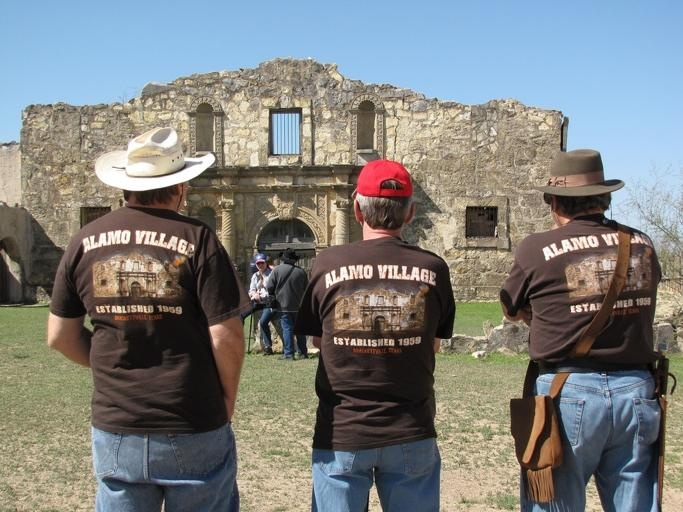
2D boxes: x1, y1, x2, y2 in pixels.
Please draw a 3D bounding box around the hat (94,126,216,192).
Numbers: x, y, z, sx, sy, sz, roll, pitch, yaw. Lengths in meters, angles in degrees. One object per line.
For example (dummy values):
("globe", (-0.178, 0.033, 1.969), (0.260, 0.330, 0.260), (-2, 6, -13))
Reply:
("hat", (-2.373, -1.137, 17.000), (1.012, 0.371, 0.977), (-5, 29, 7))
